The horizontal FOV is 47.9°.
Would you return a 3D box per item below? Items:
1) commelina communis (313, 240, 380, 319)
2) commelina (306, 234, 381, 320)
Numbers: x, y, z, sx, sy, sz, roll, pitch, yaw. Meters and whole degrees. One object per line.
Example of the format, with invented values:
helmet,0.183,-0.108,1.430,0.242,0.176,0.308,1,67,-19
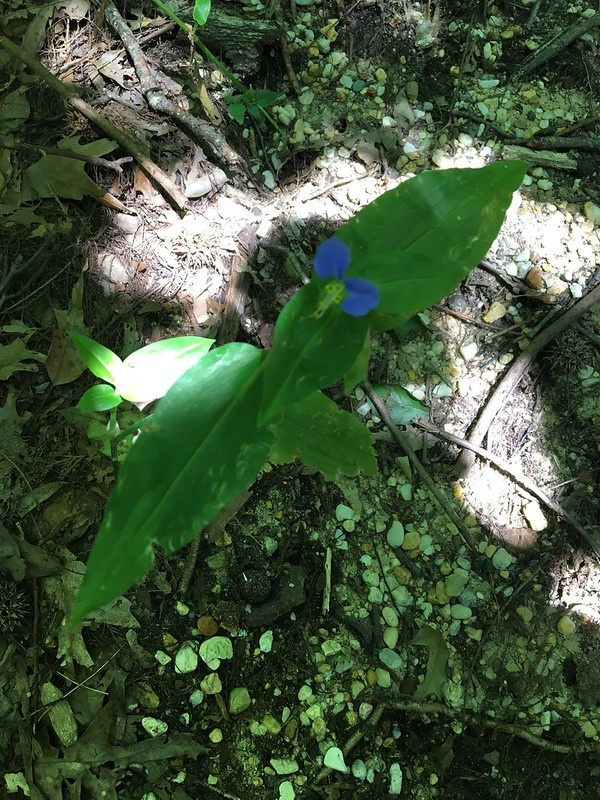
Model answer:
commelina communis,0.097,-0.244,1.325,0.137,0.128,0.092,17,29,5
commelina,0.094,-0.247,1.376,0.146,0.083,0.228,-19,62,-12
